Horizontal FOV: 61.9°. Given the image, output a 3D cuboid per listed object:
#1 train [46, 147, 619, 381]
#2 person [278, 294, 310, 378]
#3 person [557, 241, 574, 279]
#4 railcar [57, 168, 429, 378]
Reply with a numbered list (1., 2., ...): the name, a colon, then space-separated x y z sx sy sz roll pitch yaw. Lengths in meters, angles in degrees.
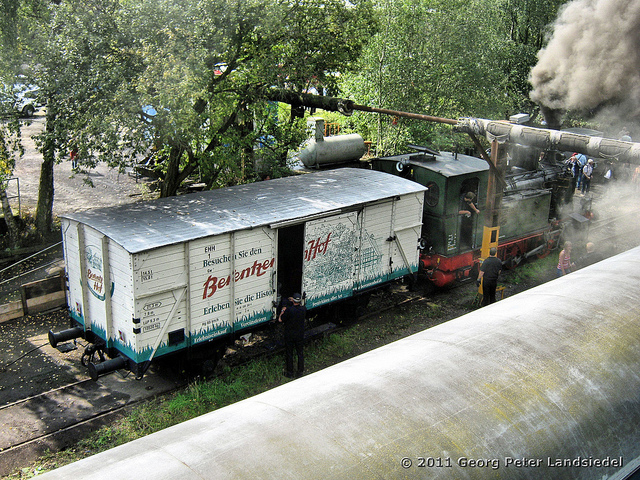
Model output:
1. train: 2.063 -0.119 18.061 19.985 5.428 4.263 -13 21 -34
2. person: -0.640 2.332 13.152 0.621 1.958 0.819 1 20 8
3. person: 7.930 0.680 17.413 0.386 1.269 0.419 16 50 30
4. railcar: -1.463 0.193 14.703 9.965 3.323 3.069 -17 25 -34
